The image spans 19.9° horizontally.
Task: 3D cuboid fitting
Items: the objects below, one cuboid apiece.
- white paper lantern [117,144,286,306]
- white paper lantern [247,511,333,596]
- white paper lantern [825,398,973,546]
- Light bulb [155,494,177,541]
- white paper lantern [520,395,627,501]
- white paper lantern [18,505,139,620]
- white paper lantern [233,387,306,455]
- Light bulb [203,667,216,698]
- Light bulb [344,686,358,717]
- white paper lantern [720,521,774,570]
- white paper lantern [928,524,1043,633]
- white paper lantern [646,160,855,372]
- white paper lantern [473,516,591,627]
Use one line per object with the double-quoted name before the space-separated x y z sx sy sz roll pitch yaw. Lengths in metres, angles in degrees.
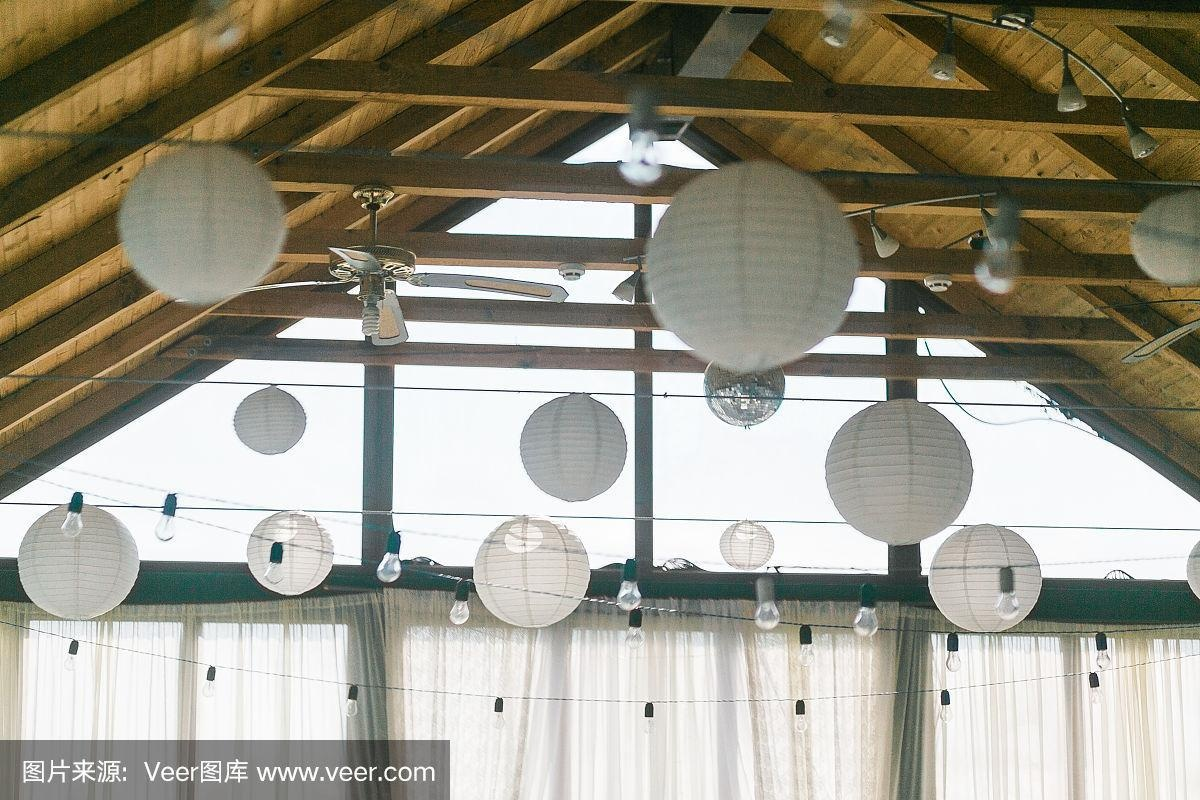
"white paper lantern" -1.686 -0.625 14.277 0.718 0.728 0.646 3 -16 -12
"white paper lantern" -1.484 0.726 16.268 0.462 0.419 0.431 1 1 -42
"white paper lantern" 1.360 0.339 15.281 0.686 0.678 0.660 0 5 -25
"Light bulb" -2.019 0.561 15.841 0.093 0.149 0.346 2 -19 -8
"white paper lantern" -0.177 0.235 15.682 0.534 0.521 0.469 1 -2 -16
"white paper lantern" -2.460 0.764 16.026 0.587 0.574 0.548 7 14 13
"white paper lantern" -1.504 0.102 15.459 0.366 0.377 0.116 -2 -29 -2
"Light bulb" -2.030 1.473 17.795 0.064 0.157 0.070 7 -21 -21
"Light bulb" -1.298 1.569 17.857 0.068 0.167 0.135 0 -19 -4
"white paper lantern" 0.676 0.692 16.043 0.248 0.230 0.226 -6 16 -9
"white paper lantern" 1.814 0.854 16.080 0.529 0.541 0.522 -10 -19 41
"white paper lantern" 0.652 -0.546 14.048 0.891 0.898 0.893 -8 12 -42
"white paper lantern" -0.313 0.824 16.062 0.579 0.558 0.563 -3 7 6
